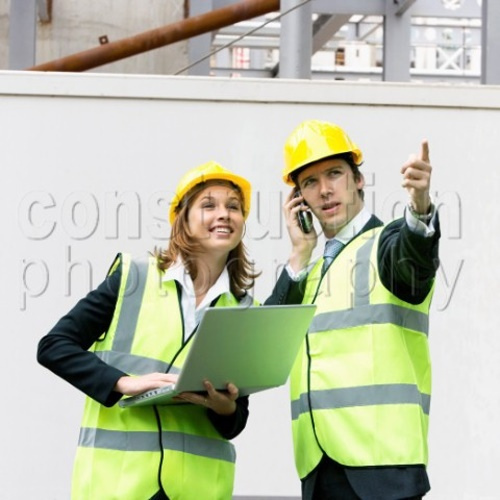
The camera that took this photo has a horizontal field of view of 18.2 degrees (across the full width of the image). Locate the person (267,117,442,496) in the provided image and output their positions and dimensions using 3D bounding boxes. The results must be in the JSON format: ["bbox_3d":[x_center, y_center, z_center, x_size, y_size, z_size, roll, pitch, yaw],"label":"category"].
[{"bbox_3d":[0.632,0.293,8.851,1.177,2.143,0.522,-5,-7,43],"label":"person"}]

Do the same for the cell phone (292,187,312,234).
[{"bbox_3d":[0.296,-0.239,9.159,0.070,0.214,0.144,-17,3,4],"label":"cell phone"}]

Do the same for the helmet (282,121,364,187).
[{"bbox_3d":[0.359,-0.619,9.257,0.452,0.327,0.579,-14,-6,15],"label":"helmet"}]
